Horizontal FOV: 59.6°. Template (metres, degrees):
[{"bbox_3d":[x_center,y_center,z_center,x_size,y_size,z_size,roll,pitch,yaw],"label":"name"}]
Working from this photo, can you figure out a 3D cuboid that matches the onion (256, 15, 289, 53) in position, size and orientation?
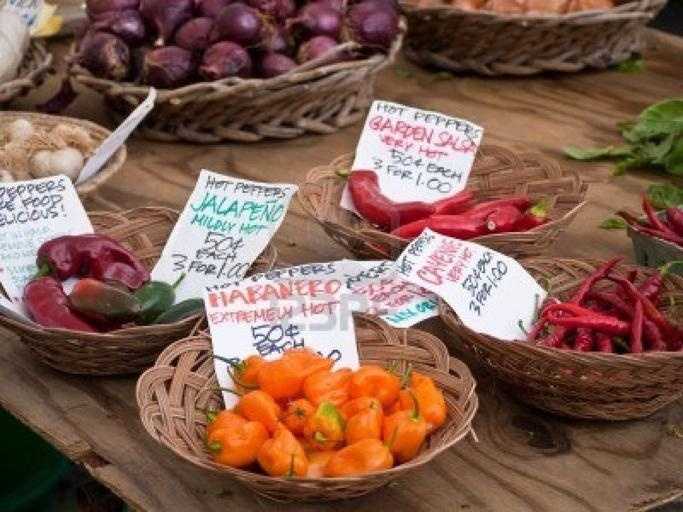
[{"bbox_3d":[-0.253,-0.804,2.210,0.129,0.129,0.063,12,73,-2],"label":"onion"}]

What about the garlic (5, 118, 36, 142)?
[{"bbox_3d":[-1.017,-0.393,1.876,0.090,0.050,0.101,-3,19,-25],"label":"garlic"}]

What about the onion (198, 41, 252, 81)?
[{"bbox_3d":[-0.388,-0.685,2.126,0.190,0.143,0.158,18,36,33],"label":"onion"}]

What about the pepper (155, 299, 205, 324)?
[{"bbox_3d":[-0.385,0.136,1.444,0.122,0.032,0.054,-22,19,-9],"label":"pepper"}]

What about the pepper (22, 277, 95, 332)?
[{"bbox_3d":[-0.668,0.109,1.454,0.163,0.117,0.160,7,18,18],"label":"pepper"}]

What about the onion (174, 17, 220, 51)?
[{"bbox_3d":[-0.523,-0.783,2.178,0.166,0.079,0.112,-5,52,25],"label":"onion"}]

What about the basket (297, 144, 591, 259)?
[{"bbox_3d":[0.317,-0.169,1.732,0.605,0.134,0.513,-7,19,-18],"label":"basket"}]

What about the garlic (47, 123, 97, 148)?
[{"bbox_3d":[-0.861,-0.384,1.899,0.123,0.054,0.100,29,13,17],"label":"garlic"}]

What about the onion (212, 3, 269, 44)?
[{"bbox_3d":[-0.359,-0.815,2.117,0.206,0.138,0.151,-25,32,-34],"label":"onion"}]

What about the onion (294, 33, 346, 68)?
[{"bbox_3d":[-0.096,-0.774,2.324,0.192,0.141,0.120,-14,61,17],"label":"onion"}]

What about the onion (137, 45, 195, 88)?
[{"bbox_3d":[-0.608,-0.658,2.100,0.203,0.145,0.170,15,33,32],"label":"onion"}]

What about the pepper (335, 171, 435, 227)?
[{"bbox_3d":[0.122,-0.153,1.758,0.179,0.078,0.326,-38,50,-26],"label":"pepper"}]

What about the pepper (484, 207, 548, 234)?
[{"bbox_3d":[0.491,-0.096,1.653,0.162,0.079,0.049,-1,77,-32],"label":"pepper"}]

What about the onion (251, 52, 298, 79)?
[{"bbox_3d":[-0.240,-0.702,2.198,0.161,0.090,0.068,-2,71,4],"label":"onion"}]

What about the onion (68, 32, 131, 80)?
[{"bbox_3d":[-0.839,-0.703,2.136,0.247,0.156,0.220,-27,34,-37],"label":"onion"}]

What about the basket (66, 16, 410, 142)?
[{"bbox_3d":[-0.343,-0.542,2.205,0.805,0.158,0.669,4,18,18],"label":"basket"}]
